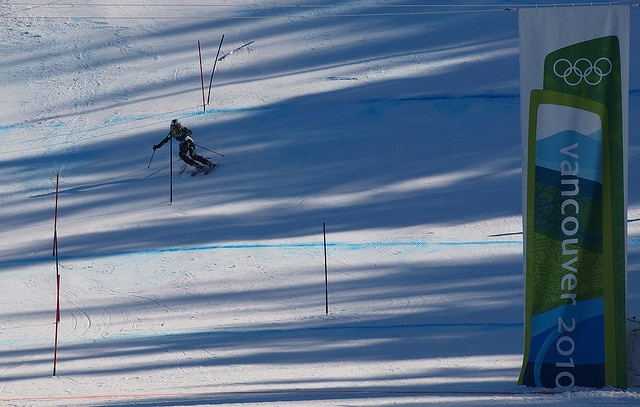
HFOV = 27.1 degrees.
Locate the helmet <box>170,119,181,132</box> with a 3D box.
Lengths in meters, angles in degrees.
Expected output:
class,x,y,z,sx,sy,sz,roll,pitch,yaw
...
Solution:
class,x,y,z,sx,sy,sz,roll,pitch,yaw
helmet,-3.977,-2.209,36.725,0.277,0.555,0.342,2,-38,-4
